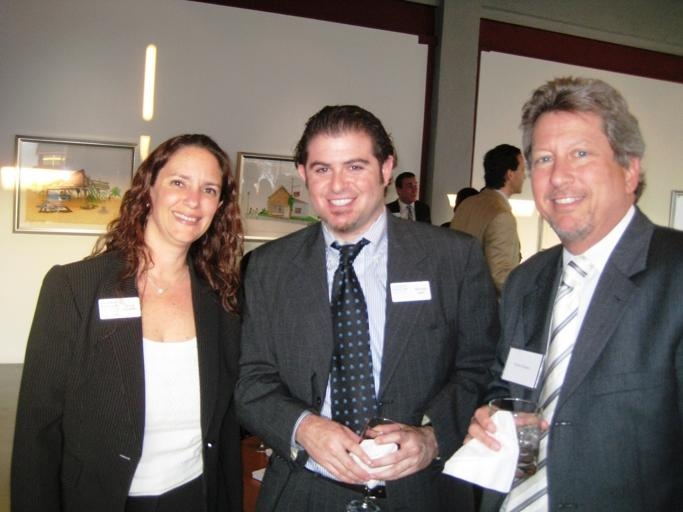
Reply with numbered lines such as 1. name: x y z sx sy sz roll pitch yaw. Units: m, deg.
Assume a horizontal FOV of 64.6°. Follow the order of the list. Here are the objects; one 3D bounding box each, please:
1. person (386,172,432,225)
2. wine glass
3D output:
1. person: 0.841 -0.657 6.946 0.701 0.764 0.429 -4 4 -26
2. wine glass: 0.111 0.812 2.068 0.190 0.408 0.149 -1 6 -3
